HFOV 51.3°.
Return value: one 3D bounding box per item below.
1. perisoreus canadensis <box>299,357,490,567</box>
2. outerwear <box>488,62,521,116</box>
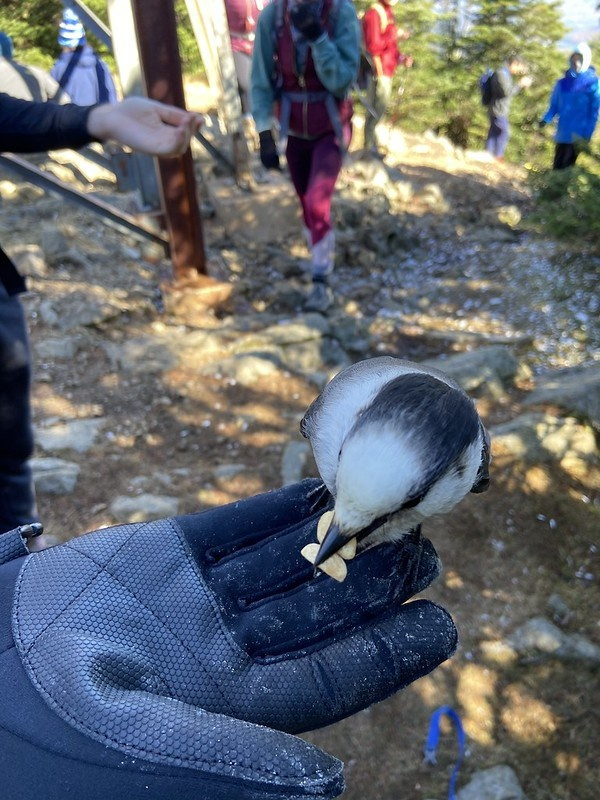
[{"bbox_3d":[0.204,0.101,1.483,0.353,0.388,0.540,20,55,5],"label":"perisoreus canadensis"},{"bbox_3d":[2.541,-3.787,7.757,0.355,0.569,0.513,6,33,14],"label":"outerwear"}]
